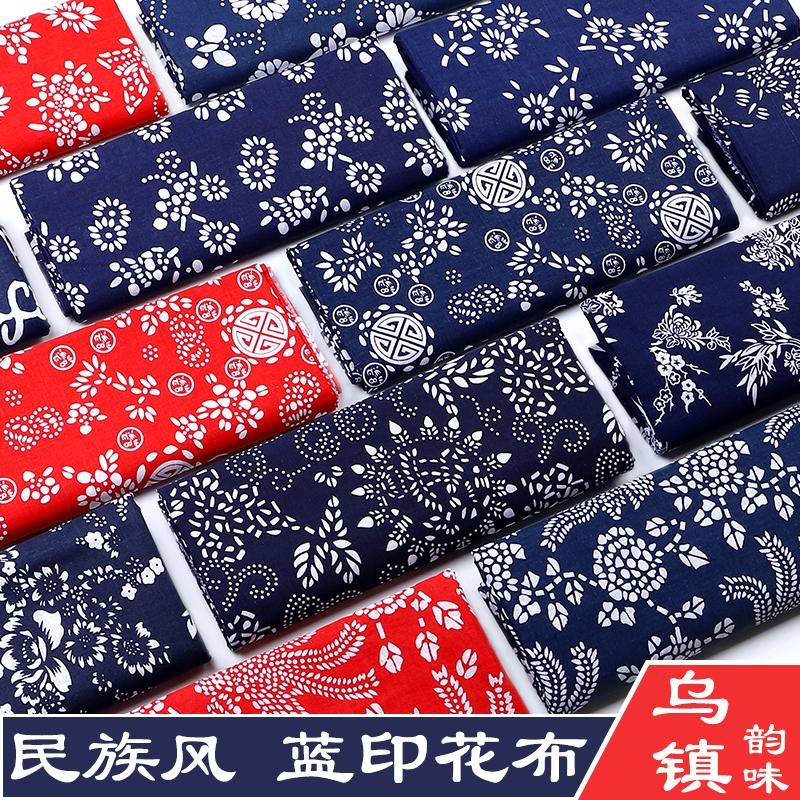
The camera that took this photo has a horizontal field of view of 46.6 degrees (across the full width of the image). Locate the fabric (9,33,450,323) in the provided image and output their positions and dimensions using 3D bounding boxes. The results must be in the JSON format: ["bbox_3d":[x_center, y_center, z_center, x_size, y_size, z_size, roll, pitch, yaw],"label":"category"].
[{"bbox_3d":[-0.277,-0.334,1.477,0.726,0.100,0.306,-23,76,-9],"label":"fabric"}]

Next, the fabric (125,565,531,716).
[{"bbox_3d":[-0.063,0.318,1.132,0.376,0.049,0.192,-18,56,-9],"label":"fabric"}]
